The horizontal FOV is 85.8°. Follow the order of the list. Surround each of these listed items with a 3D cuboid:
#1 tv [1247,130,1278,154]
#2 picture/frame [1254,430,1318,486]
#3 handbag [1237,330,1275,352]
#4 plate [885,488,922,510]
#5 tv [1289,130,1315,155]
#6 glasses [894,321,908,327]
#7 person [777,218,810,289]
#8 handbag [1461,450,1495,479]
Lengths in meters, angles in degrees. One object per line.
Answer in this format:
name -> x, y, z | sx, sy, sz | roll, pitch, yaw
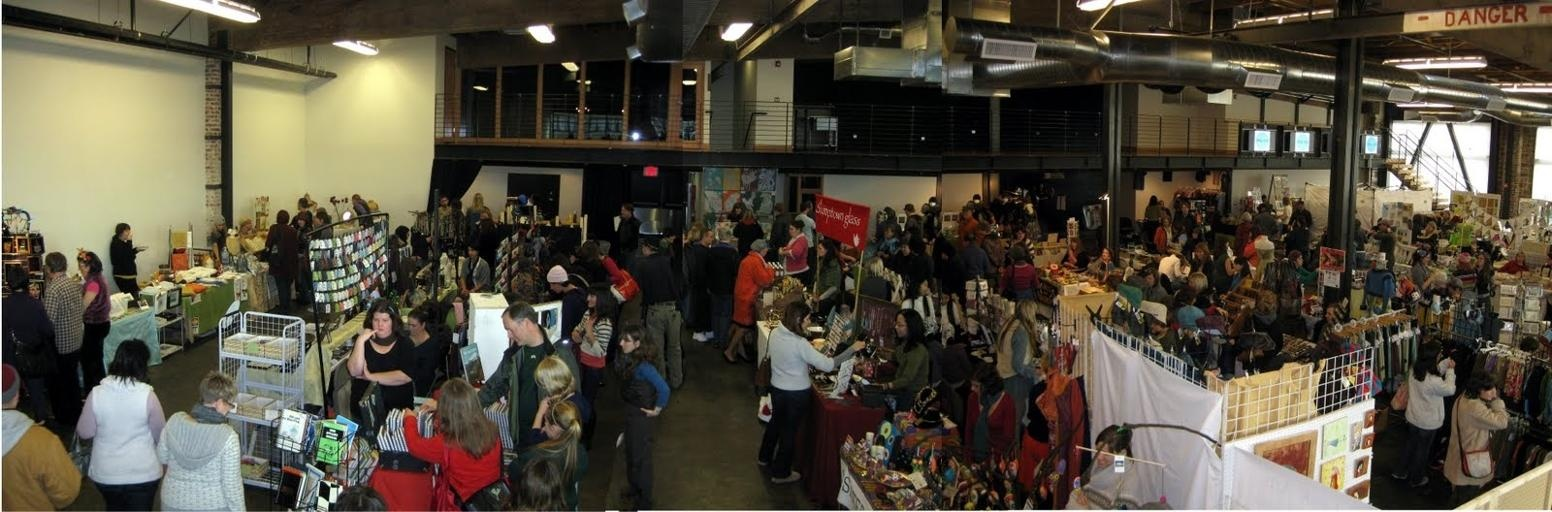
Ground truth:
tv -> 21.147, -5.047, 36.296 | 1.416, 0.978, 0.216 | -1, 5, -25
picture/frame -> 12.915, 5.117, 21.273 | 1.889, 1.204, 0.101 | 6, -7, -15
handbag -> 13.705, 2.442, 23.850 | 0.765, 0.256, 0.756 | 1, -1, 0
plate -> 3.363, 6.339, 21.779 | 0.805, 0.189, 0.534 | 4, 2, 16
tv -> 23.218, -5.102, 36.950 | 1.731, 1.010, 0.478 | 0, 0, -22
glasses -> 3.444, 1.890, 22.986 | 0.273, 0.089, 0.238 | 2, 3, -32
person -> 0.674, -0.156, 27.253 | 0.916, 2.070, 1.484 | 2, 4, 3
handbag -> 19.532, 5.801, 23.294 | 1.181, 0.730, 0.410 | -5, -3, -7
